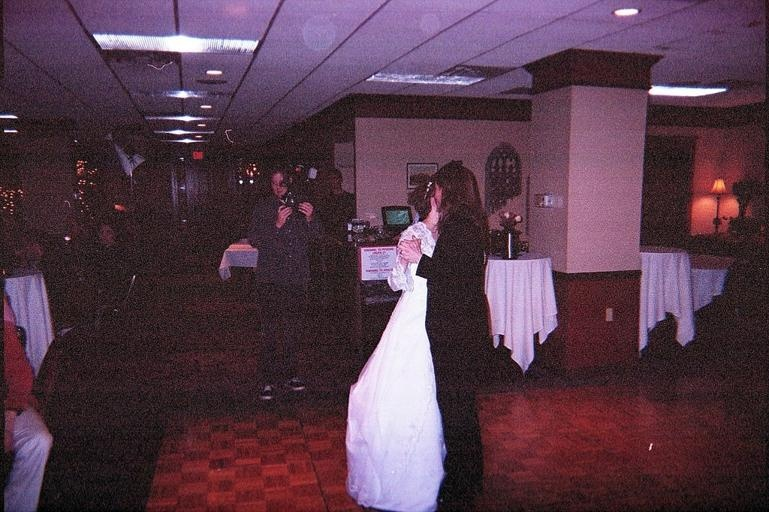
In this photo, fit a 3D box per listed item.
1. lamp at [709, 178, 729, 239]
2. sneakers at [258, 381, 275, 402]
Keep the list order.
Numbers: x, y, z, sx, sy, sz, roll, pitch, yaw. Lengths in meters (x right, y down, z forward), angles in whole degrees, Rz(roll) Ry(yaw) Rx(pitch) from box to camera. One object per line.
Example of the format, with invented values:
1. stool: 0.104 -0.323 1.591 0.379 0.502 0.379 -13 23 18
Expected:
1. lamp: 5.697 -0.863 9.951 0.252 0.941 0.199 4 8 11
2. sneakers: -1.155 1.320 5.682 0.139 0.060 0.149 -2 25 3
